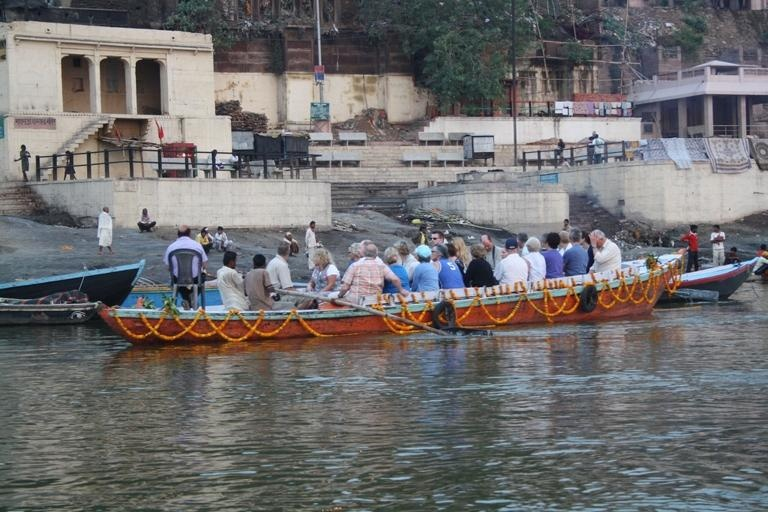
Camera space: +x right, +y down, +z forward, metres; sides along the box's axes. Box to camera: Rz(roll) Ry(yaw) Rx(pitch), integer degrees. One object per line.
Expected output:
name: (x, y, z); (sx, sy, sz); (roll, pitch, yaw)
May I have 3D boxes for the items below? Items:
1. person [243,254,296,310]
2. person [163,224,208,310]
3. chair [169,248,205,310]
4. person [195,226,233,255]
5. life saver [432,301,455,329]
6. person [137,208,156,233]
person: (-3.404, 0.801, 43.535); (1.257, 2.063, 1.522); (13, 26, 30)
person: (-5.869, 0.325, 43.556); (1.102, 2.343, 1.375); (-1, 0, -12)
chair: (-5.816, 0.635, 43.358); (0.997, 1.815, 0.846); (-2, 4, -6)
person: (-6.297, -0.661, 53.775); (1.023, 0.678, 1.271); (1, -7, -21)
life saver: (1.764, 1.705, 43.523); (0.692, 0.812, 0.155); (-2, 4, -13)
person: (-9.054, -1.442, 55.945); (0.657, 0.917, 0.839); (-2, 3, -8)
